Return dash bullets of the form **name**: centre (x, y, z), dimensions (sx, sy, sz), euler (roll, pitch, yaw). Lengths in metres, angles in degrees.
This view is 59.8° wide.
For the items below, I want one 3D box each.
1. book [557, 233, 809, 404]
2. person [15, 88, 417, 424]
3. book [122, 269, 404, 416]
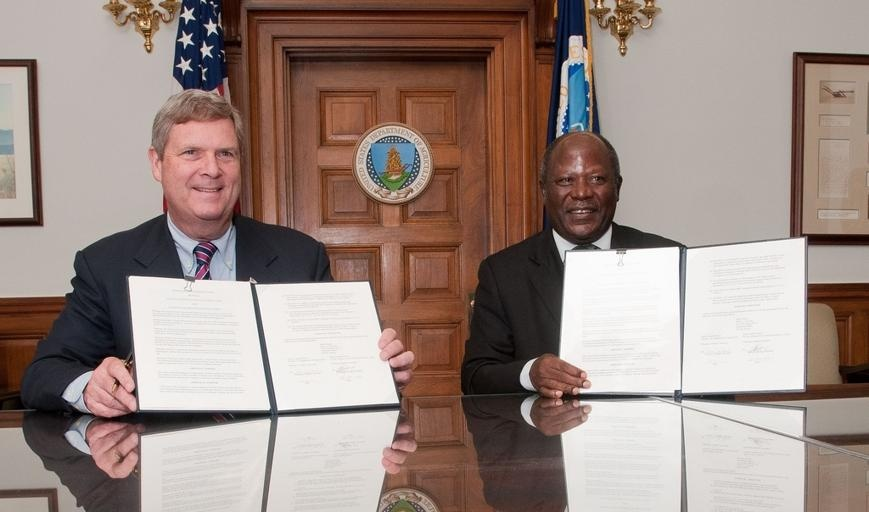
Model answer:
- **book**: centre (0.963, 0.265, 2.911), dimensions (0.711, 0.411, 0.076), euler (0, -8, 5)
- **person**: centre (-0.973, 0.042, 3.380), dimensions (1.832, 1.443, 1.069), euler (-8, 6, -41)
- **book**: centre (-0.718, 0.344, 3.052), dimensions (1.021, 0.487, 0.194), euler (-1, -6, -13)
